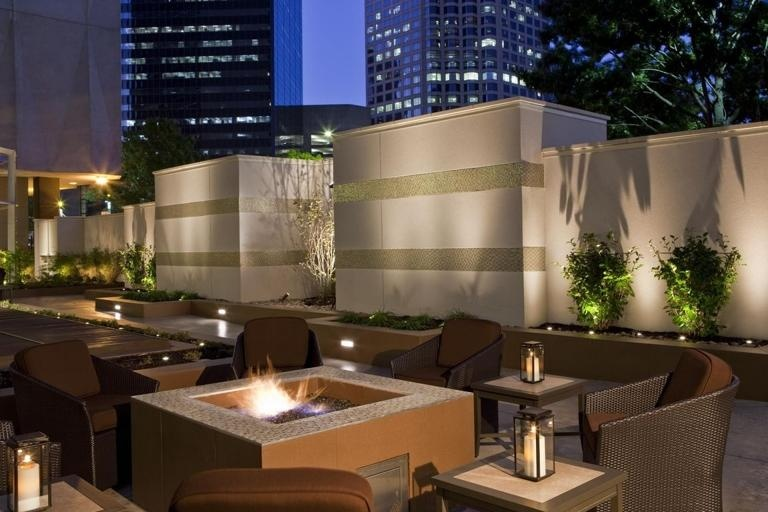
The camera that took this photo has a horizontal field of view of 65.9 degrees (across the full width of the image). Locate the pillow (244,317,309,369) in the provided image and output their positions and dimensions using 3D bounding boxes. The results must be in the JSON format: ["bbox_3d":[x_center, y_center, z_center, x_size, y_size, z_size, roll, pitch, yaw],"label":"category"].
[{"bbox_3d":[-1.311,1.103,7.227,0.664,0.626,0.568,-2,-11,-11],"label":"pillow"}]

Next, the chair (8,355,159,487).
[{"bbox_3d":[-2.838,1.492,5.700,1.131,1.026,0.900,2,4,34],"label":"chair"}]

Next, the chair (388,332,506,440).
[{"bbox_3d":[0.849,1.463,6.913,0.960,1.191,1.165,-6,-12,37],"label":"chair"}]

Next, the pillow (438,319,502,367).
[{"bbox_3d":[1.027,0.992,7.065,0.613,0.523,0.612,-5,-6,36],"label":"pillow"}]

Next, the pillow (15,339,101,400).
[{"bbox_3d":[-3.158,1.118,5.845,0.152,0.648,0.648,-20,-1,32],"label":"pillow"}]

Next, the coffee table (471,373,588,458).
[{"bbox_3d":[1.351,1.314,5.677,0.874,0.739,0.870,1,-3,-41],"label":"coffee table"}]
